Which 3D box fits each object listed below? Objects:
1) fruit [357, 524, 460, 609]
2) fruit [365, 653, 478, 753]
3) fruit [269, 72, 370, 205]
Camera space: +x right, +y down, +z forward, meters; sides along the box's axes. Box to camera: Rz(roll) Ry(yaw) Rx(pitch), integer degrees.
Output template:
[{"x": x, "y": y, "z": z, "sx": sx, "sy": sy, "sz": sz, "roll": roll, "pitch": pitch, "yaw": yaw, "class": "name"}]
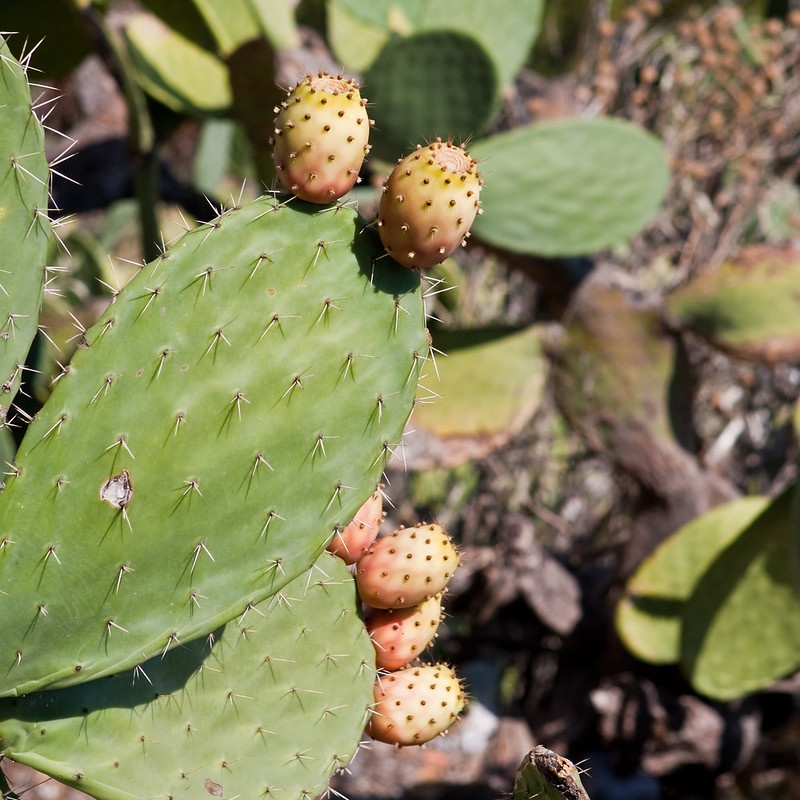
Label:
[{"x": 0.006, "y": 0.245, "z": 1.869, "sx": 0.115, "sy": 0.157, "sz": 0.123, "roll": -11, "pitch": 82, "yaw": 21, "class": "fruit"}, {"x": 0.030, "y": 0.455, "z": 1.906, "sx": 0.151, "sy": 0.104, "sz": 0.090, "roll": 4, "pitch": 65, "yaw": 29, "class": "fruit"}, {"x": -0.116, "y": -0.368, "z": 1.724, "sx": 0.133, "sy": 0.156, "sz": 0.130, "roll": 32, "pitch": 28, "yaw": 32, "class": "fruit"}]
